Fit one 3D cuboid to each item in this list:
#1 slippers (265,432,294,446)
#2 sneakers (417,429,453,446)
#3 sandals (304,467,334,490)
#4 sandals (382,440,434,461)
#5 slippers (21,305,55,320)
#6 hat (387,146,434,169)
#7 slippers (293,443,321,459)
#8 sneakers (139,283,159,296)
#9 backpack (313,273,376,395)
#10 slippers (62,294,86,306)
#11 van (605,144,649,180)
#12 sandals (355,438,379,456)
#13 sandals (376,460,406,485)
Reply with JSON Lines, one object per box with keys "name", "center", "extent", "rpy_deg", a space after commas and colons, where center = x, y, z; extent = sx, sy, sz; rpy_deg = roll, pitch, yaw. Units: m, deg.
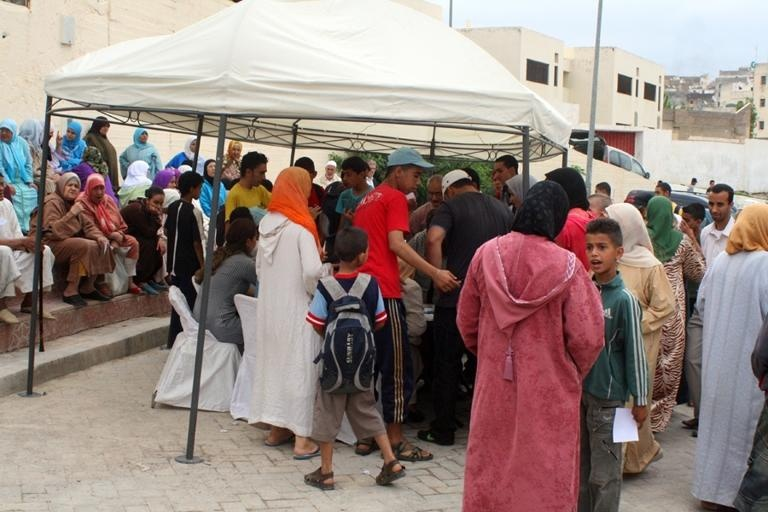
{"name": "slippers", "center": [-1.032, 1.824, 7.508], "extent": [0.125, 0.110, 0.268], "rpy_deg": [7, 10, 43]}
{"name": "sneakers", "center": [0.549, 1.860, 7.738], "extent": [0.382, 0.152, 0.140], "rpy_deg": [6, 8, 30]}
{"name": "sandals", "center": [-0.562, 1.968, 6.710], "extent": [0.272, 0.152, 0.140], "rpy_deg": [8, 3, 38]}
{"name": "sandals", "center": [0.248, 1.898, 7.309], "extent": [0.370, 0.131, 0.178], "rpy_deg": [0, 6, 10]}
{"name": "slippers", "center": [-4.198, 0.698, 9.270], "extent": [0.499, 0.195, 0.179], "rpy_deg": [2, 2, 1]}
{"name": "hat", "center": [0.243, -0.979, 7.571], "extent": [0.341, 0.166, 0.239], "rpy_deg": [2, 6, 0]}
{"name": "slippers", "center": [-0.733, 1.892, 7.261], "extent": [0.276, 0.108, 0.103], "rpy_deg": [-2, 2, -28]}
{"name": "sneakers", "center": [-3.491, 0.491, 11.215], "extent": [0.245, 0.105, 0.120], "rpy_deg": [14, 14, 17]}
{"name": "backpack", "center": [-0.322, 0.690, 6.758], "extent": [0.465, 1.009, 0.423], "rpy_deg": [2, 12, -7]}
{"name": "slippers", "center": [-4.022, 0.565, 9.813], "extent": [0.257, 0.102, 0.144], "rpy_deg": [1, 4, 29]}
{"name": "van", "center": [10.075, -3.960, 31.573], "extent": [2.243, 1.050, 1.324], "rpy_deg": [-2, 13, -37]}
{"name": "sandals", "center": [-0.161, 1.884, 7.435], "extent": [0.107, 0.126, 0.325], "rpy_deg": [0, -4, 19]}
{"name": "sandals", "center": [0.078, 1.921, 6.690], "extent": [0.152, 0.158, 0.321], "rpy_deg": [-28, -3, -41]}
